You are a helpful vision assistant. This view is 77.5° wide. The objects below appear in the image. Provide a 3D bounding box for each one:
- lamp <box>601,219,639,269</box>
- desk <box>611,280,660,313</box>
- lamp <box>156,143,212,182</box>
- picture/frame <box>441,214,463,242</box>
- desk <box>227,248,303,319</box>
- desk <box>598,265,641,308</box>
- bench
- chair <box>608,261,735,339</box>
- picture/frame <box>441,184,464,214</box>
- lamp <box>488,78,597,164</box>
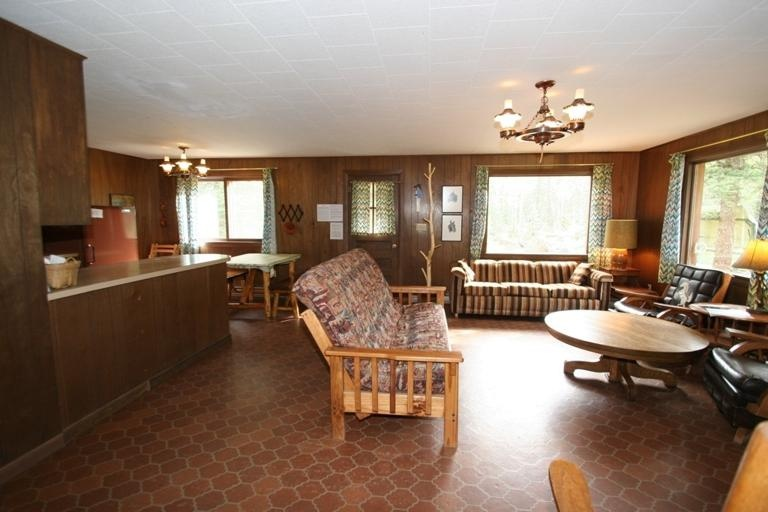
[{"bbox_3d":[3.815,-0.191,7.777,0.639,0.763,0.609,-1,2,-22],"label":"lamp"},{"bbox_3d":[3.609,0.606,6.844,0.574,0.523,0.623,0,1,16],"label":"desk"},{"bbox_3d":[-3.269,-1.583,7.899,0.841,0.424,0.775,2,5,11],"label":"lamp"},{"bbox_3d":[1.224,-0.542,8.586,0.536,0.641,0.069,1,4,4],"label":"picture/frame"},{"bbox_3d":[-1.966,0.461,7.937,1.021,0.773,0.946,1,6,18],"label":"desk"},{"bbox_3d":[3.616,0.474,7.376,0.768,0.579,0.399,0,1,-8],"label":"desk"},{"bbox_3d":[0.127,0.736,5.429,1.499,1.300,2.598,5,12,8],"label":"bench"},{"bbox_3d":[3.693,0.624,6.317,1.177,0.863,0.872,-4,10,-3],"label":"chair"},{"bbox_3d":[1.229,-1.052,8.540,0.575,0.677,0.072,0,2,3],"label":"picture/frame"},{"bbox_3d":[1.697,-1.499,5.094,0.999,0.597,0.432,1,12,22],"label":"lamp"}]
